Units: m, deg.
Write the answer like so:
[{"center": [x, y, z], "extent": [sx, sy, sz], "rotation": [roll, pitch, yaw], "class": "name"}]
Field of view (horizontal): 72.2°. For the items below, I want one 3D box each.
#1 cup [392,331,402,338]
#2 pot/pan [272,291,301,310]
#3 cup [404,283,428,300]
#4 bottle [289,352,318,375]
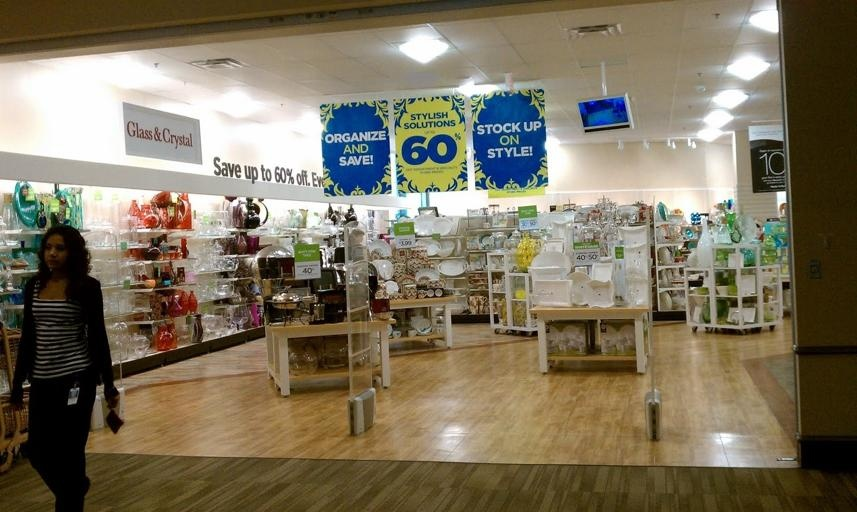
[{"center": [-0.554, 1.403, 10.521], "extent": [0.131, 0.084, 0.118], "rotation": [4, -6, -29], "class": "cup"}, {"center": [-1.937, 0.594, 8.077], "extent": [0.285, 0.173, 0.274], "rotation": [0, 3, -7], "class": "pot/pan"}, {"center": [-0.220, 0.612, 10.248], "extent": [0.413, 0.227, 0.137], "rotation": [-3, 6, -4], "class": "cup"}, {"center": [-1.716, 1.507, 8.185], "extent": [0.337, 0.228, 0.296], "rotation": [1, -9, -2], "class": "bottle"}]
